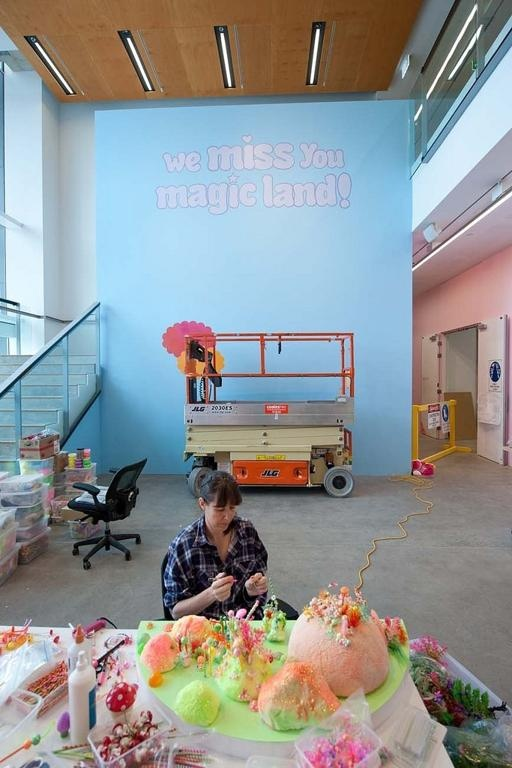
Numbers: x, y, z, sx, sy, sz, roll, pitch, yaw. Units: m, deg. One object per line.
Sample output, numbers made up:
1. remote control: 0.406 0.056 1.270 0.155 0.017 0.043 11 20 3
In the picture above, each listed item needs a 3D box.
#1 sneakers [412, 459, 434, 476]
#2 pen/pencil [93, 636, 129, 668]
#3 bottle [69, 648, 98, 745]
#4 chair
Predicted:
1. sneakers: 2.197 1.110 6.710 0.278 0.212 0.397 0 1 19
2. pen/pencil: -0.399 0.739 1.410 0.088 0.030 0.024 -37 48 -23
3. bottle: -0.359 0.639 1.051 0.051 0.193 0.082 0 0 -19
4. chair: -1.135 0.941 3.885 0.527 0.779 0.538 8 10 35
